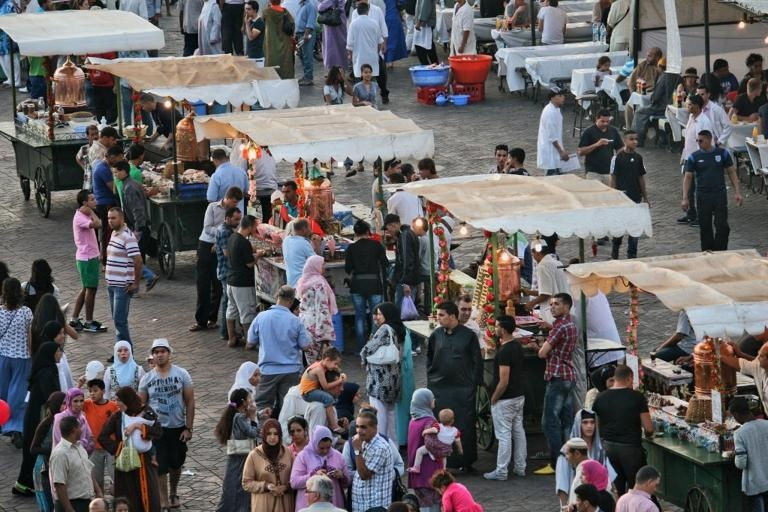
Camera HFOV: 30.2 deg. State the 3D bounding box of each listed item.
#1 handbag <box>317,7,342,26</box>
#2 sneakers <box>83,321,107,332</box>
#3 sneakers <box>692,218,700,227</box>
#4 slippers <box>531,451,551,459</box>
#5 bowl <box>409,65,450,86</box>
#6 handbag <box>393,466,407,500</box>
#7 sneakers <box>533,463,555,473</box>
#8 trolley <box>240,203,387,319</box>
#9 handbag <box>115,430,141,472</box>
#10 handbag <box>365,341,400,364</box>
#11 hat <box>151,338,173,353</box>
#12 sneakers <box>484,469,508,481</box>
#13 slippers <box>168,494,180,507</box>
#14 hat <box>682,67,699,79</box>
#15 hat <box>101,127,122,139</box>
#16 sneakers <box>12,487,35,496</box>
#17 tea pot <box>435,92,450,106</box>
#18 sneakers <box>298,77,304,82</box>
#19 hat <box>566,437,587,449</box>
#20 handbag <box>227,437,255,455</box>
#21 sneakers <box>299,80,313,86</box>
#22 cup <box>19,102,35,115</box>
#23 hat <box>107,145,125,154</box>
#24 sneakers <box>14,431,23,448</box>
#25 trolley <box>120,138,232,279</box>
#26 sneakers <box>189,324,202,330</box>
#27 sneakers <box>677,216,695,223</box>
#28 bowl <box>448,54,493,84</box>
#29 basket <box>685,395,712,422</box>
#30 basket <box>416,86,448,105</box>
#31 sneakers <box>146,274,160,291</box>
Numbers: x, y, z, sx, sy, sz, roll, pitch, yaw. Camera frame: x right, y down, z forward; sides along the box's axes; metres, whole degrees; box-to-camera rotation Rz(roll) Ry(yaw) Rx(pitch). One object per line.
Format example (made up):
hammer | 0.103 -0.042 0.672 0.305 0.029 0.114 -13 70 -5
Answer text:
handbag | -1.197 -5.331 31.538 0.387 0.371 0.160 5 21 1
sneakers | -4.441 1.088 21.775 0.346 0.143 0.153 1 3 -1
sneakers | 5.283 -0.561 24.029 0.153 0.129 0.320 -1 -3 21
slippers | 2.057 2.653 18.850 0.249 0.060 0.155 0 15 5
bowl | 1.053 -3.919 30.917 0.569 0.235 0.569 -3 6 0
handbag | 0.176 2.709 16.787 0.173 0.351 0.358 -2 15 0
sneakers | 2.080 2.787 18.523 0.299 0.127 0.096 -1 -2 14
trolley | -1.106 0.352 21.862 1.553 1.075 2.292 6 -7 -32
handbag | -3.110 2.398 17.146 0.281 0.448 0.130 4 16 22
handbag | -0.027 1.265 18.460 0.283 0.277 0.125 -1 -18 7
hat | -2.822 1.119 17.851 0.224 0.143 0.258 -4 15 -8
sneakers | 1.440 2.849 18.359 0.298 0.121 0.121 5 9 27
slippers | -2.662 3.100 17.973 0.133 0.153 0.204 -4 15 -9
hat | 5.731 -3.418 26.575 0.419 0.169 0.454 0 0 7
hat | -4.642 -2.095 24.116 0.343 0.175 0.241 3 2 -10
sneakers | -4.625 3.019 18.231 0.305 0.120 0.108 2 10 6
tea pot | 1.264 -3.434 31.099 0.322 0.272 0.214 -5 3 -16
sneakers | -1.922 -4.047 32.622 0.118 0.053 0.154 -2 3 11
hat | 2.290 2.224 16.856 0.246 0.122 0.216 -2 15 -3
handbag | -1.706 2.288 17.023 0.204 0.180 0.071 0 11 -2
sneakers | -1.779 -3.941 32.403 0.319 0.122 0.106 4 6 1
cup | -6.760 -2.784 26.868 0.257 0.404 0.262 3 16 -1
hat | -4.472 -1.739 23.513 0.247 0.147 0.384 -5 15 -11
sneakers | -4.956 2.489 19.141 0.084 0.250 0.160 -5 -3 -13
trolley | -3.782 -1.082 23.705 1.467 1.498 2.380 -8 22 -23
sneakers | -2.911 1.104 21.870 0.160 0.064 0.083 3 -2 -22
sneakers | 5.202 -0.616 24.411 0.316 0.124 0.110 5 1 7
bowl | 1.854 -4.113 31.165 0.710 0.336 0.717 -2 6 0
basket | 3.925 1.926 17.755 0.297 0.281 0.296 0 -3 -6
basket | 1.018 -3.548 31.158 0.471 0.286 0.465 0 7 -4
sneakers | -3.810 0.420 23.105 0.166 0.140 0.381 11 -17 -3
